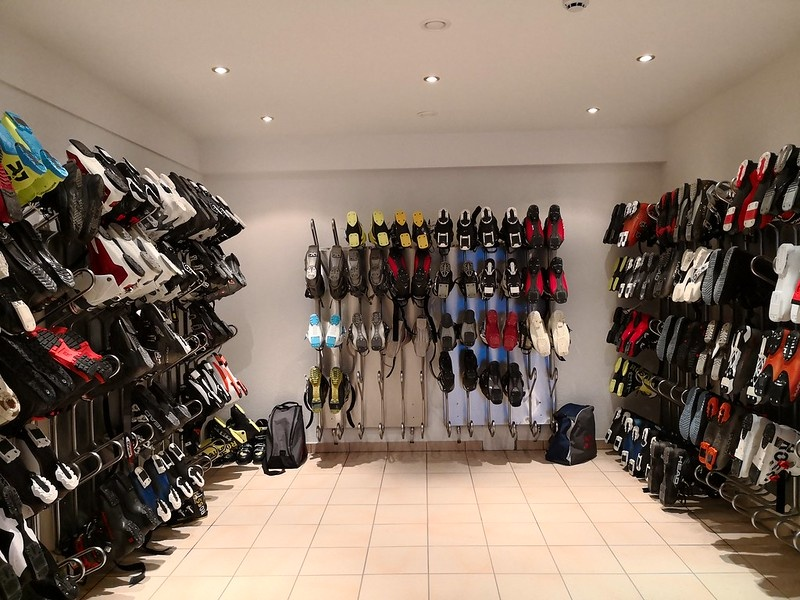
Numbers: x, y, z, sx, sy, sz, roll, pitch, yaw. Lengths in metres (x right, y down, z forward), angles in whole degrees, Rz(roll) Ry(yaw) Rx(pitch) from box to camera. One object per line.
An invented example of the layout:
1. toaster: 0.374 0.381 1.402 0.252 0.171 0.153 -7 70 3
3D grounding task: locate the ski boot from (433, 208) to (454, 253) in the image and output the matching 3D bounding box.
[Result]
1. ski boot: 0.441 -0.703 5.467 0.188 0.406 0.121 0 -1 1

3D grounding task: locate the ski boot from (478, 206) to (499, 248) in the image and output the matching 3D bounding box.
1. ski boot: 0.887 -0.708 5.412 0.190 0.405 0.149 -6 -9 23

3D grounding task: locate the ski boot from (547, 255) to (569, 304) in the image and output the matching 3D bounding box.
1. ski boot: 1.581 -0.201 5.444 0.174 0.457 0.233 0 6 16

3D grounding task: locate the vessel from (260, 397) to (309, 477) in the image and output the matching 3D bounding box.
1. vessel: -1.217 1.402 5.638 0.361 0.654 0.489 -4 -1 4

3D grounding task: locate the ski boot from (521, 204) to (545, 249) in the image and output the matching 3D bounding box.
1. ski boot: 1.337 -0.726 5.409 0.150 0.512 0.232 0 -36 4

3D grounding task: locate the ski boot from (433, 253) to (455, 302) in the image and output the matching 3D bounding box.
1. ski boot: 0.453 -0.234 5.531 0.166 0.470 0.199 2 -3 4

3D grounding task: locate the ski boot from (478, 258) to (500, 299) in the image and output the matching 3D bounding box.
1. ski boot: 0.883 -0.209 5.418 0.200 0.409 0.121 2 -1 31

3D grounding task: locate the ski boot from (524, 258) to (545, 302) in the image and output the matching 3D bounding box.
1. ski boot: 1.379 -0.184 5.461 0.154 0.501 0.180 -1 -15 17

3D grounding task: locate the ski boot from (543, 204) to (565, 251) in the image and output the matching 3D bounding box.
1. ski boot: 1.558 -0.706 5.458 0.146 0.524 0.218 -1 -15 12

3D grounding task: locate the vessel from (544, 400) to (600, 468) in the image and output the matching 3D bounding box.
1. vessel: 1.831 1.393 5.650 0.513 0.612 0.392 -1 6 -32

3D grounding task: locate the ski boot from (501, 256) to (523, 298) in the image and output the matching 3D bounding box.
1. ski boot: 1.152 -0.216 5.508 0.206 0.419 0.315 0 6 9

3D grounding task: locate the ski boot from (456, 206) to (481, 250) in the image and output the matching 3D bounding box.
1. ski boot: 0.683 -0.725 5.466 0.191 0.412 0.160 0 -1 10
